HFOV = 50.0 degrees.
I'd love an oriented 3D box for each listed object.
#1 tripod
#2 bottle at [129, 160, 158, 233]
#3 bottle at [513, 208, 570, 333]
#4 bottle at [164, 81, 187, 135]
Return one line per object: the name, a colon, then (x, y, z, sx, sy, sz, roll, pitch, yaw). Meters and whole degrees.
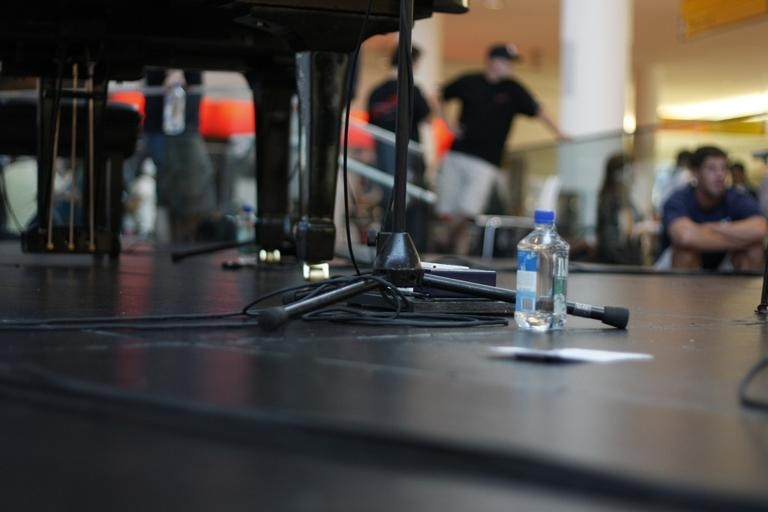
tripod: (0.032, -0.195, 2.013, 0.747, 0.941, 0.800, 5, -3, -38)
bottle: (-1.067, -0.270, 3.652, 0.097, 0.331, 0.117, 1, 6, -15)
bottle: (0.344, 0.038, 1.782, 0.109, 0.221, 0.142, 5, 13, 13)
bottle: (-0.924, -0.653, 3.627, 0.095, 0.215, 0.064, 0, 1, -14)
